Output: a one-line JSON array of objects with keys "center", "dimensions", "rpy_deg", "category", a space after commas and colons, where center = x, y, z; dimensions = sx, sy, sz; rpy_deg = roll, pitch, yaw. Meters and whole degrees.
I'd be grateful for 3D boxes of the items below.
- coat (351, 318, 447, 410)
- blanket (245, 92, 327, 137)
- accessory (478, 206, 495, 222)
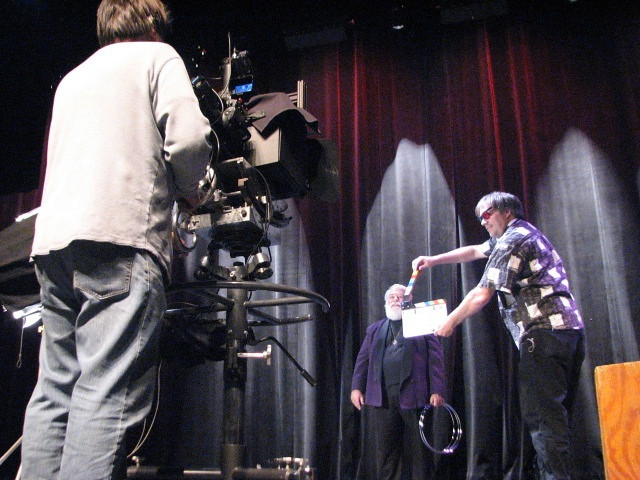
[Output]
[{"center": [0.534, 0.829, 4.455], "dimensions": [0.581, 0.681, 0.343], "rpy_deg": [-3, -14, 20], "category": "coat"}, {"center": [-0.165, -0.634, 3.467], "dimensions": [0.330, 0.141, 0.356], "rpy_deg": [-11, -8, 23], "category": "blanket"}, {"center": [1.102, -0.174, 4.232], "dimensions": [0.077, 0.026, 0.078], "rpy_deg": [-39, -12, -22], "category": "accessory"}]
